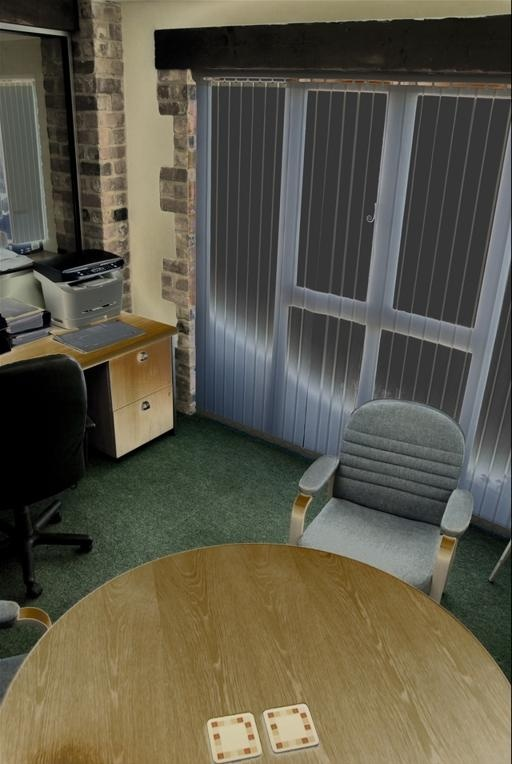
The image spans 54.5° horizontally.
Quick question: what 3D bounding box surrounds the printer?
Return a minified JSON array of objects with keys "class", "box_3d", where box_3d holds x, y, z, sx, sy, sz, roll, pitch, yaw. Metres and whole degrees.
[{"class":"printer","box_3d":[-1.115,-0.607,3.238,0.316,0.391,0.511,19,29,26]}]
